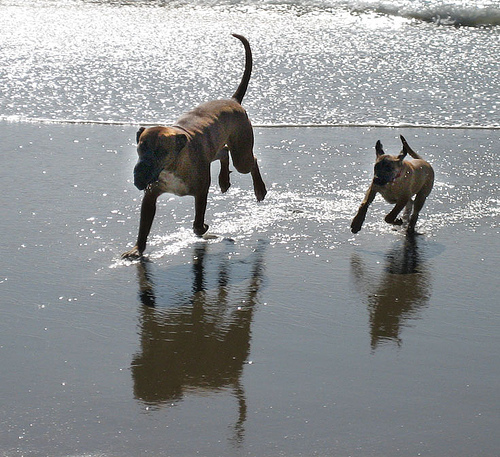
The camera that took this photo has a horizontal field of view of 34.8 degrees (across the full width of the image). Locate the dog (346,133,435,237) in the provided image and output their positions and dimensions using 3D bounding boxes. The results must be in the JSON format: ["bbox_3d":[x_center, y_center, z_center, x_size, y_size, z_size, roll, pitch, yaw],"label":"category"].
[{"bbox_3d":[1.343,-0.345,7.138,0.452,0.792,1.463,21,10,27],"label":"dog"}]
